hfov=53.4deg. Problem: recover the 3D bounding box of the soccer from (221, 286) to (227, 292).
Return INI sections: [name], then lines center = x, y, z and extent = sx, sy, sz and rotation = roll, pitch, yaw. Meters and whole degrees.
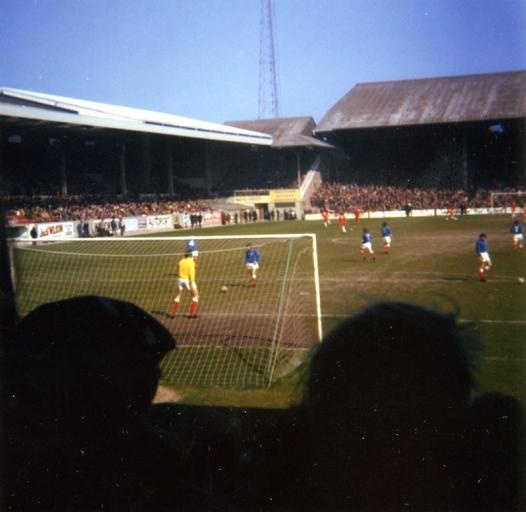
[soccer]
center = -1.056, 0.878, 13.904
extent = 0.085, 0.140, 0.109
rotation = 17, -31, -27
